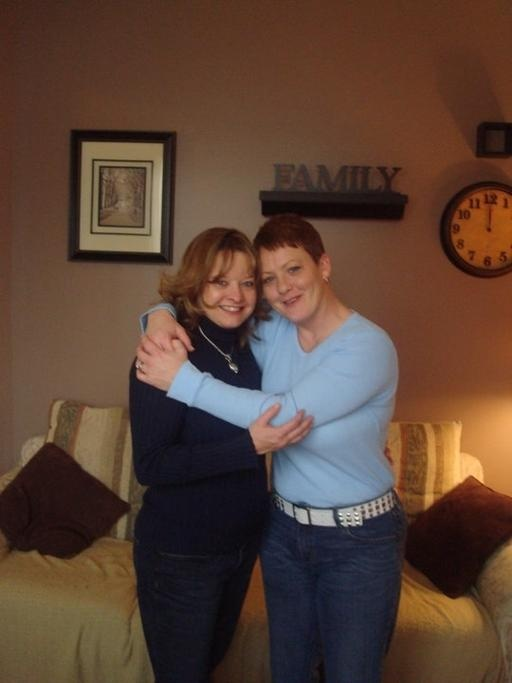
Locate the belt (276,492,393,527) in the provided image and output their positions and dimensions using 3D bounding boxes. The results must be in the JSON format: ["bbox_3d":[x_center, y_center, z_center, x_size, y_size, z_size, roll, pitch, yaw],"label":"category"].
[{"bbox_3d":[0.211,0.464,1.761,0.341,0.090,0.109,6,2,10],"label":"belt"}]

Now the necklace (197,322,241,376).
[{"bbox_3d":[-0.104,0.037,1.916,0.025,0.208,0.064,-27,17,44],"label":"necklace"}]
